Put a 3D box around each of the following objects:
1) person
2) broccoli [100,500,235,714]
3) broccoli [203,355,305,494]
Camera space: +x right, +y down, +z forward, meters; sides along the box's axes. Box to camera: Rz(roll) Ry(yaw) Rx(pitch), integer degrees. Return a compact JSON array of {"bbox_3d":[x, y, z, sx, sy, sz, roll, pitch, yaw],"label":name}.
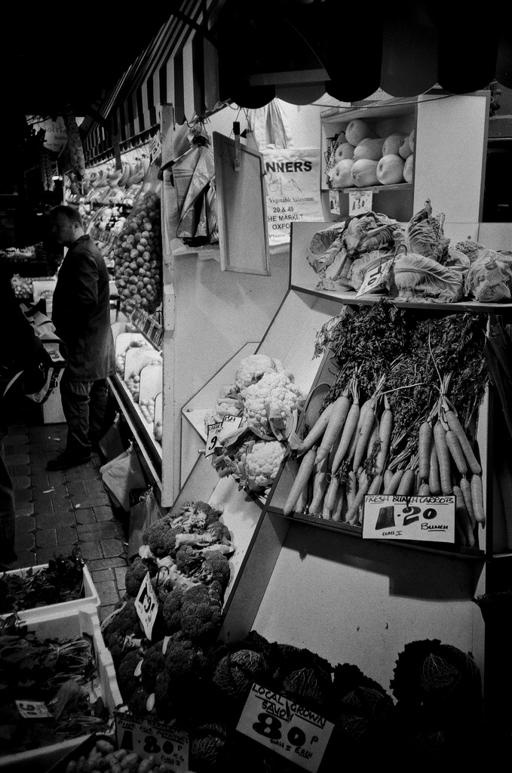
[{"bbox_3d":[-1.705,-0.445,4.674,0.579,2.478,0.456,-1,10,1],"label":"person"},{"bbox_3d":[-0.302,0.750,1.712,0.386,0.235,0.638,-42,29,19],"label":"broccoli"},{"bbox_3d":[0.008,0.111,1.936,0.371,0.623,0.211,-17,-36,37],"label":"broccoli"}]
